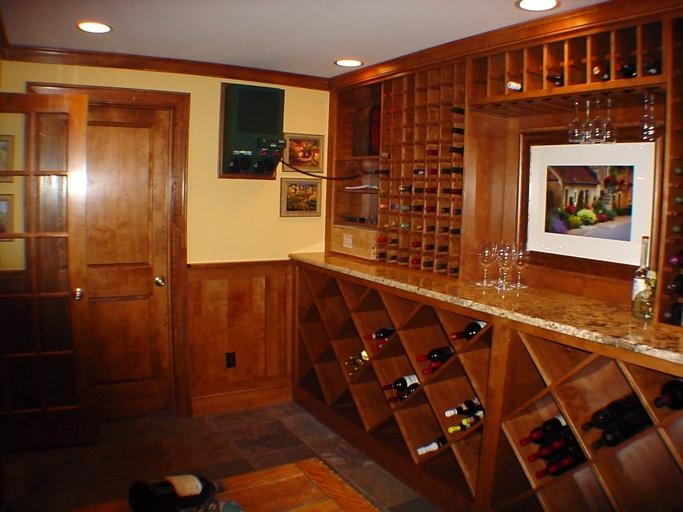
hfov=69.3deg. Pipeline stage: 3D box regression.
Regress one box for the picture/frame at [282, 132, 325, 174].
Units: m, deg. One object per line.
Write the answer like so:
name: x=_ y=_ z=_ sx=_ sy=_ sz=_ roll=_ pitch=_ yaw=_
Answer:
picture/frame: x=-0.321 y=-0.893 z=4.321 sx=0.037 sy=0.334 sz=0.483 roll=11 pitch=14 yaw=44

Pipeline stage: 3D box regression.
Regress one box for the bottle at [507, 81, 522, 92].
bottle: x=0.992 y=-0.976 z=2.849 sx=0.120 sy=0.051 sz=0.036 roll=3 pitch=3 yaw=-9

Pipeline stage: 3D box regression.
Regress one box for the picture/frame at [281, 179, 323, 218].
picture/frame: x=-0.355 y=-0.515 z=4.361 sx=0.033 sy=0.334 sz=0.485 roll=12 pitch=13 yaw=43

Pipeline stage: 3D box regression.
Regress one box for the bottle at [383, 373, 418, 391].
bottle: x=0.411 y=0.864 z=3.374 sx=0.269 sy=0.070 sz=0.075 roll=-6 pitch=30 yaw=-10

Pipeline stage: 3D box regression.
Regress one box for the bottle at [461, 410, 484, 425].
bottle: x=0.790 y=0.967 z=2.964 sx=0.131 sy=0.036 sz=0.116 roll=-14 pitch=2 yaw=-15

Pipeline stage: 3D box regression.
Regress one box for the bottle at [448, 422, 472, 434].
bottle: x=0.717 y=1.033 z=2.971 sx=0.204 sy=0.051 sz=0.037 roll=-19 pitch=19 yaw=26

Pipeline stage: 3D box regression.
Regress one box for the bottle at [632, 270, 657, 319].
bottle: x=1.512 y=0.190 z=2.458 sx=0.101 sy=0.241 sz=0.062 roll=12 pitch=17 yaw=42

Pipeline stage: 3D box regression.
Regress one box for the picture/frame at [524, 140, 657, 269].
picture/frame: x=1.481 y=-0.315 z=2.968 sx=0.088 sy=0.774 sz=0.974 roll=-10 pitch=13 yaw=-24
